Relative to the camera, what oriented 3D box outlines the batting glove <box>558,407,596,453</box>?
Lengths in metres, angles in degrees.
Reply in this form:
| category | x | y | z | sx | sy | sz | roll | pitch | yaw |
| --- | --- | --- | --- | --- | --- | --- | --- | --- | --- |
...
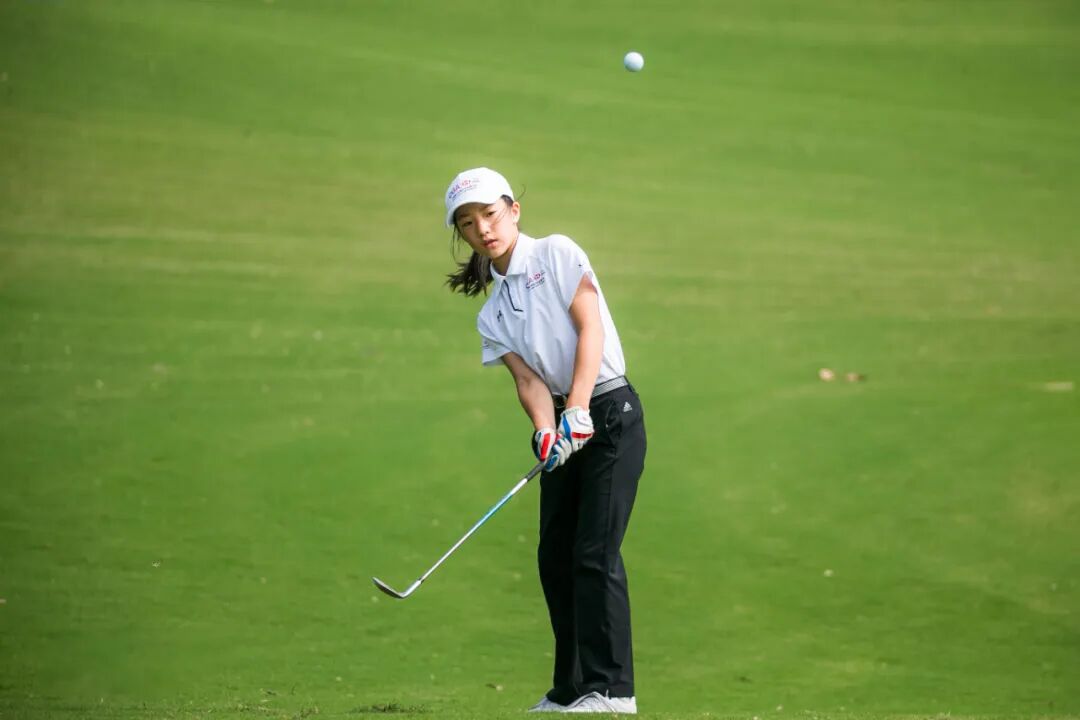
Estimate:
| category | x | y | z | sx | sy | sz | roll | pitch | yaw |
| --- | --- | --- | --- | --- | --- | --- | --- | --- | --- |
| batting glove | 0.159 | 0.299 | 8.007 | 0.149 | 0.188 | 0.191 | -1 | 1 | -23 |

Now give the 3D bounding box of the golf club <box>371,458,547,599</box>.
| category | x | y | z | sx | sy | sz | roll | pitch | yaw |
| --- | --- | --- | --- | --- | --- | --- | --- | --- | --- |
| golf club | -0.419 | 0.890 | 9.091 | 0.989 | 0.178 | 0.113 | -38 | 20 | 7 |

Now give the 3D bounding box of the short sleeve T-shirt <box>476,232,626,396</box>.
| category | x | y | z | sx | sy | sz | roll | pitch | yaw |
| --- | --- | --- | --- | --- | --- | --- | --- | --- | --- |
| short sleeve T-shirt | 0.021 | -0.188 | 8.342 | 0.582 | 0.647 | 0.323 | -34 | -20 | 21 |

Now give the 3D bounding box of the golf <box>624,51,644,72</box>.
| category | x | y | z | sx | sy | sz | roll | pitch | yaw |
| --- | --- | --- | --- | --- | --- | --- | --- | --- | --- |
| golf | 0.504 | -1.595 | 9.547 | 0.124 | 0.102 | 0.092 | 11 | 21 | 21 |

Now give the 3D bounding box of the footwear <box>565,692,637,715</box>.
| category | x | y | z | sx | sy | sz | roll | pitch | yaw |
| --- | --- | --- | --- | --- | --- | --- | --- | --- | --- |
| footwear | 0.282 | 1.539 | 8.084 | 0.292 | 0.124 | 0.107 | 4 | -7 | -4 |

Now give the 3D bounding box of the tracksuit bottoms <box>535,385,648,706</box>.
| category | x | y | z | sx | sy | sz | roll | pitch | yaw |
| --- | --- | --- | --- | --- | --- | --- | --- | --- | --- |
| tracksuit bottoms | 0.217 | 0.878 | 8.118 | 0.467 | 1.443 | 0.619 | 3 | 19 | -1 |
